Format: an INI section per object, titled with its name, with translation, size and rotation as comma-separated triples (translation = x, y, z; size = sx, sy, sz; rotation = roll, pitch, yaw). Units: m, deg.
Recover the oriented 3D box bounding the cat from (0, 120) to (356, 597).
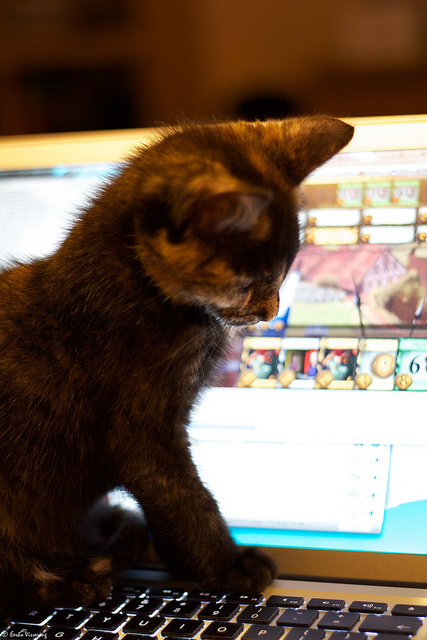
[cat]
translation = -0.065, 0.027, 0.768
size = 0.374, 0.470, 0.452
rotation = 6, 33, 15
